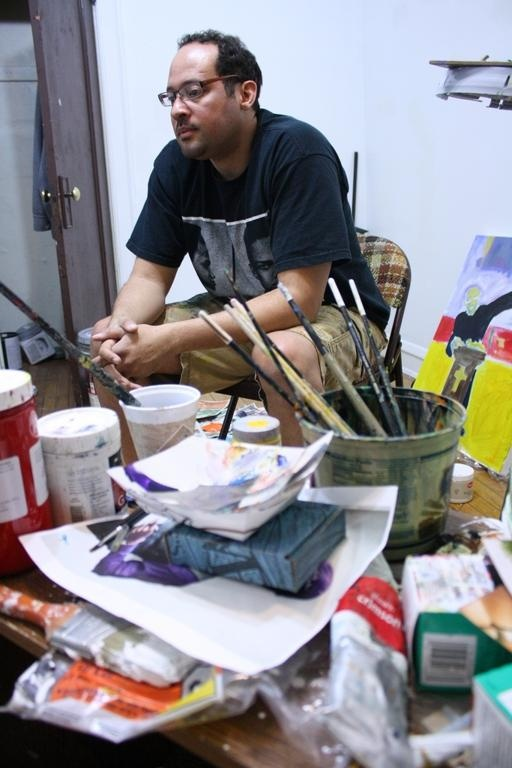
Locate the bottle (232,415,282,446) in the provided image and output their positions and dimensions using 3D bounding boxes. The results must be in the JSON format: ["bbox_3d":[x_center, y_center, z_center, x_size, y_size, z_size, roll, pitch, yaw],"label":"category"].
[{"bbox_3d":[0.005,0.060,0.910,0.050,0.047,0.050,-2,16,-3],"label":"bottle"}]

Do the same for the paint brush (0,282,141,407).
[{"bbox_3d":[-0.252,-0.063,0.850,0.163,0.176,0.199,-2,16,-12],"label":"paint brush"}]

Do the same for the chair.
[{"bbox_3d":[0.091,-0.203,1.563,0.451,0.711,0.526,19,34,33],"label":"chair"}]

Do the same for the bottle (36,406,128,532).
[{"bbox_3d":[-0.214,0.109,0.730,0.095,0.161,0.097,-6,21,2],"label":"bottle"}]

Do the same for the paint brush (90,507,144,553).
[{"bbox_3d":[-0.157,0.168,0.710,0.022,0.022,0.073,31,49,33],"label":"paint brush"}]
